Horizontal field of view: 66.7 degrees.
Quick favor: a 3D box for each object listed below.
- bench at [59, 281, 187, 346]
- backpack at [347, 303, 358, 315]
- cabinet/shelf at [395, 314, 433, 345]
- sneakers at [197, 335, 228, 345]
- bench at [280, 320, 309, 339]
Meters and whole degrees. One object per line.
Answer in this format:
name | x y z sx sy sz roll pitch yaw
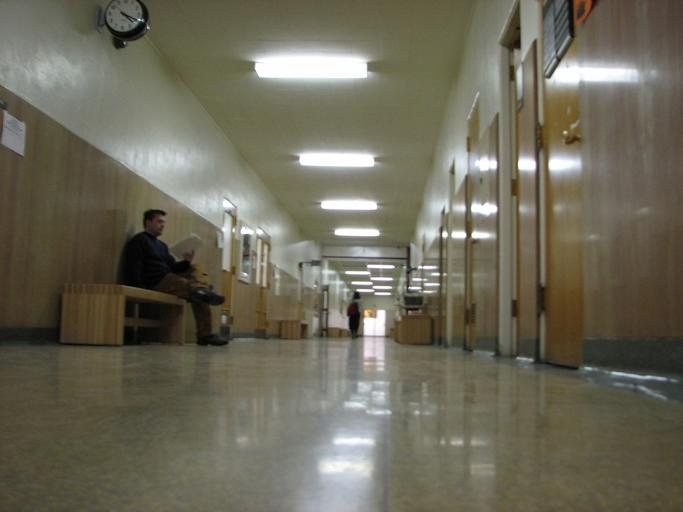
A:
bench | -1.957 0.572 4.877 0.548 0.491 1.609 0 -9 5
backpack | 0.377 1.714 16.938 0.383 0.439 0.362 -1 -8 12
cabinet/shelf | 1.433 1.425 10.109 0.460 0.447 0.858 0 -5 2
sneakers | -1.256 0.811 5.027 0.281 0.103 0.270 4 -9 -17
bench | -1.236 1.840 13.097 0.553 0.290 0.769 0 -3 -1
